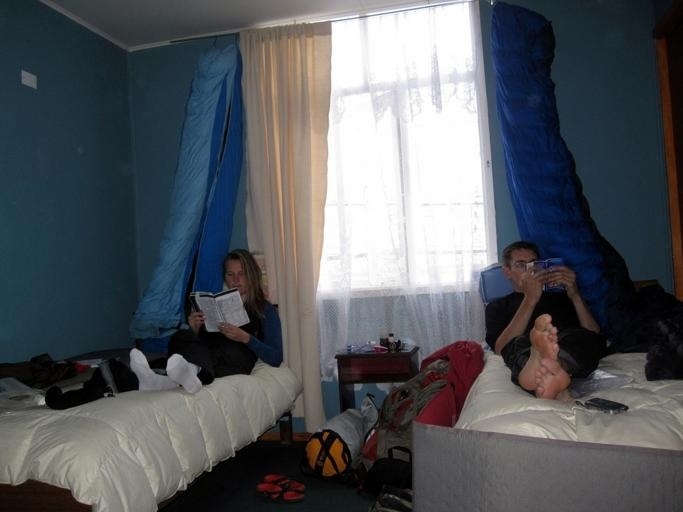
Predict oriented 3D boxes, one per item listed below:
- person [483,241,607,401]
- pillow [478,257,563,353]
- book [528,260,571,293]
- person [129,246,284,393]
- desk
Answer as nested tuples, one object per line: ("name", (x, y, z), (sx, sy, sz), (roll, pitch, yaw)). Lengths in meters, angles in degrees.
("person", (0.971, 0.295, 2.524), (0.510, 0.760, 1.236), (-10, -5, 19))
("pillow", (0.940, 0.246, 2.732), (0.357, 0.266, 0.515), (-12, -1, 7))
("book", (1.051, 0.092, 2.583), (0.194, 0.211, 0.121), (-5, -5, 44))
("person", (-0.697, 0.374, 2.925), (0.509, 0.708, 1.093), (0, 0, 26))
("desk", (0.233, 0.728, 3.322), (0.527, 0.546, 0.395), (-2, -2, 9))
